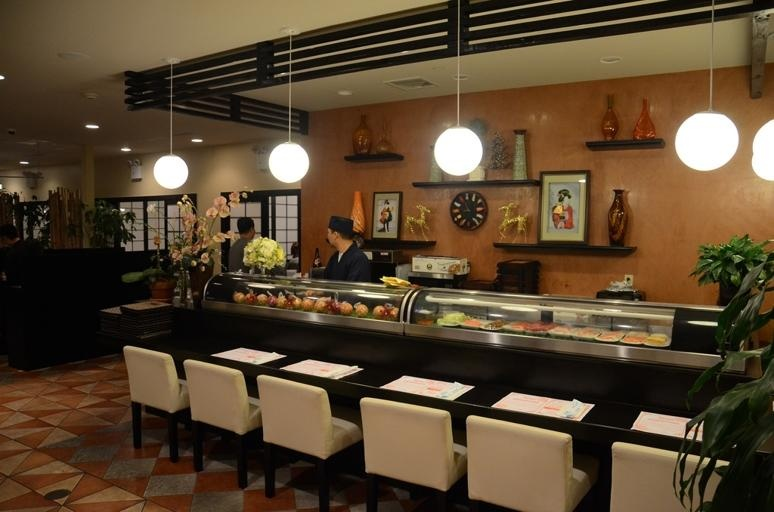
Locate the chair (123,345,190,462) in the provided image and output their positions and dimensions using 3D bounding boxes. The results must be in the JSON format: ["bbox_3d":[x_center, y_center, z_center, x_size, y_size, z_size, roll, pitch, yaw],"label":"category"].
[{"bbox_3d":[-2.041,1.277,4.785,0.458,1.026,0.771,-9,12,-37],"label":"chair"}]

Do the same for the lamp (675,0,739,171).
[{"bbox_3d":[2.650,-1.343,4.305,0.379,1.285,1.676,5,12,32],"label":"lamp"}]

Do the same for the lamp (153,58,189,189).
[{"bbox_3d":[-3.118,-1.707,7.629,0.358,1.384,4.099,-5,10,-20],"label":"lamp"}]

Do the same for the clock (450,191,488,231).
[{"bbox_3d":[1.075,-0.597,6.878,0.502,0.505,0.087,-4,-5,39],"label":"clock"}]

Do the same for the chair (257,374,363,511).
[{"bbox_3d":[-0.602,1.394,4.037,0.740,1.038,0.365,3,11,26],"label":"chair"}]

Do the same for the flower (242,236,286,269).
[{"bbox_3d":[-1.225,-0.025,5.297,0.342,0.350,0.352,9,12,41],"label":"flower"}]

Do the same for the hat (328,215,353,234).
[{"bbox_3d":[-0.467,-0.323,5.322,0.194,0.114,0.194,9,7,8],"label":"hat"}]

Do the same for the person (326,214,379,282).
[{"bbox_3d":[-0.406,-0.087,5.465,0.581,0.941,0.706,-1,4,-10],"label":"person"}]
